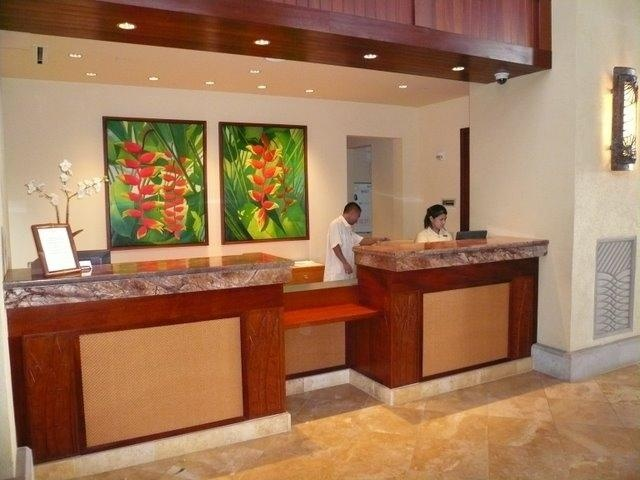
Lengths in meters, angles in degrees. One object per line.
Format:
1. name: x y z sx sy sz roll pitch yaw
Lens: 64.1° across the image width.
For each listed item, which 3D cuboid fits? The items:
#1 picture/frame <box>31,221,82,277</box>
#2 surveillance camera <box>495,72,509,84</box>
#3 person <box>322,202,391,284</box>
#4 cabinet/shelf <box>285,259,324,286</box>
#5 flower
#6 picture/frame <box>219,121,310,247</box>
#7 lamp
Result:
1. picture/frame: -1.717 0.056 3.335 0.177 0.341 0.274 2 11 42
2. surveillance camera: 1.708 -1.520 4.790 0.101 0.081 0.104 -1 7 3
3. person: 0.209 0.039 5.386 0.420 0.798 0.528 -4 9 8
4. cabinet/shelf: -0.146 0.405 6.748 0.385 0.201 1.050 -5 8 1
5. flower: -2.733 -0.516 5.423 0.953 1.062 0.278 -3 -1 -35
6. picture/frame: -0.759 -0.795 6.960 1.191 1.585 0.035 1 6 7
7. lamp: 2.839 -1.136 4.747 0.400 0.946 0.116 -9 9 -26
